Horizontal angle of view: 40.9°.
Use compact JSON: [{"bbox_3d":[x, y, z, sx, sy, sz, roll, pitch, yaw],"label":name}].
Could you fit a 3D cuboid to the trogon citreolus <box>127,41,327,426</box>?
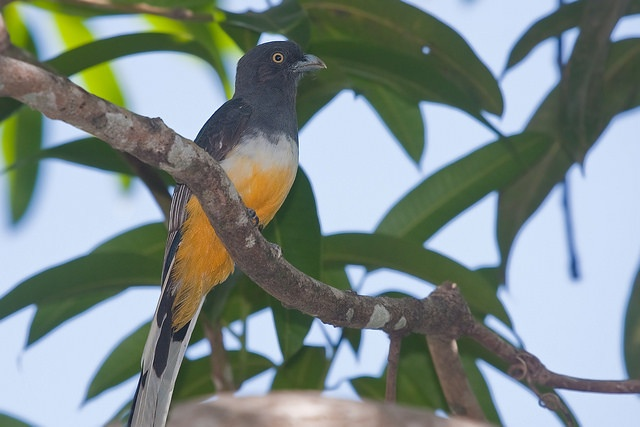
[{"bbox_3d":[-0.823,0.077,6.755,1.294,1.647,2.955,3,-86,-8],"label":"trogon citreolus"}]
